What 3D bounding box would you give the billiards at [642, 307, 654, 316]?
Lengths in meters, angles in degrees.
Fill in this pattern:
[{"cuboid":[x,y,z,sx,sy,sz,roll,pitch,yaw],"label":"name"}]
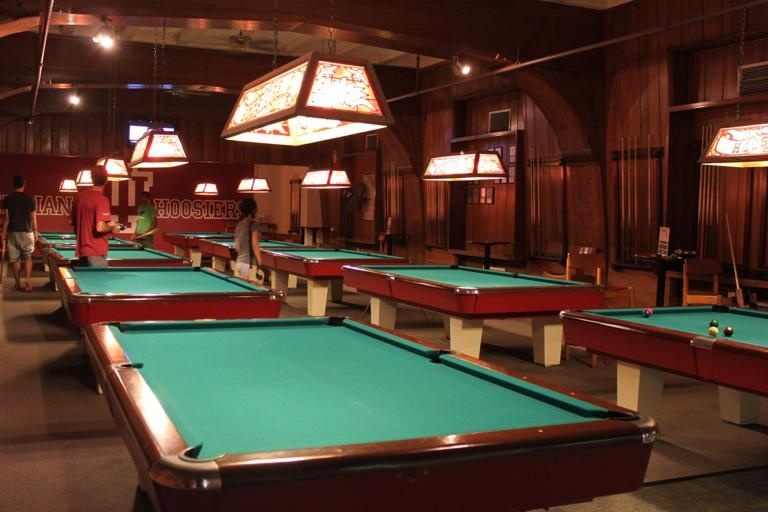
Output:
[{"cuboid":[2.026,0.428,4.767,0.066,0.076,0.081,1,8,13],"label":"billiards"}]
